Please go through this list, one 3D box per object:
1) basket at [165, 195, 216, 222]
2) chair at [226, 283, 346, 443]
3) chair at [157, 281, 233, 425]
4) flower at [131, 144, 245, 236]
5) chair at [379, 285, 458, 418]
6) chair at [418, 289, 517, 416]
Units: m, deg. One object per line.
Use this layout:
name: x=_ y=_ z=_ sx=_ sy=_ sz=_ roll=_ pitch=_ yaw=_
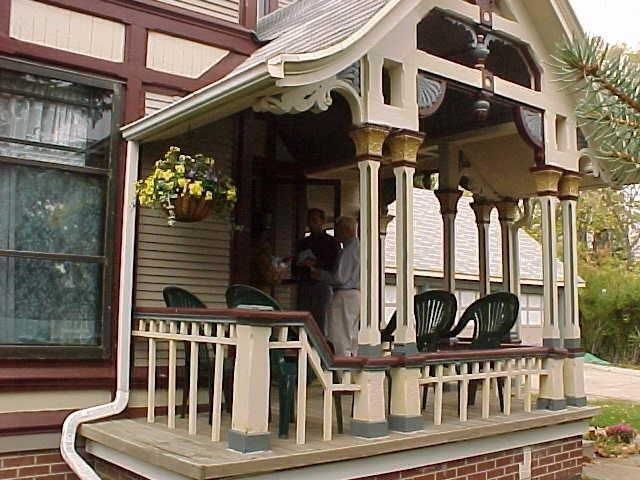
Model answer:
basket: x=-1.205 y=-0.282 z=6.983 sx=0.280 sy=0.159 sz=0.288 roll=-1 pitch=-5 yaw=1
chair: x=-0.507 y=1.040 z=6.609 sx=0.838 sy=1.142 sz=0.844 roll=13 pitch=0 yaw=25
chair: x=-1.135 y=1.055 z=7.335 sx=0.675 sy=1.284 sz=0.574 roll=-4 pitch=-5 yaw=-1
flower: x=-1.292 y=-0.448 z=7.063 sx=0.781 sy=0.578 sz=0.797 roll=3 pitch=0 yaw=37
chair: x=0.946 y=1.225 z=7.744 sx=0.977 sy=1.321 sz=0.885 roll=-4 pitch=4 yaw=-26
chair: x=1.599 y=1.239 z=8.023 sx=0.918 sy=1.285 sz=1.019 roll=-7 pitch=-7 yaw=41
